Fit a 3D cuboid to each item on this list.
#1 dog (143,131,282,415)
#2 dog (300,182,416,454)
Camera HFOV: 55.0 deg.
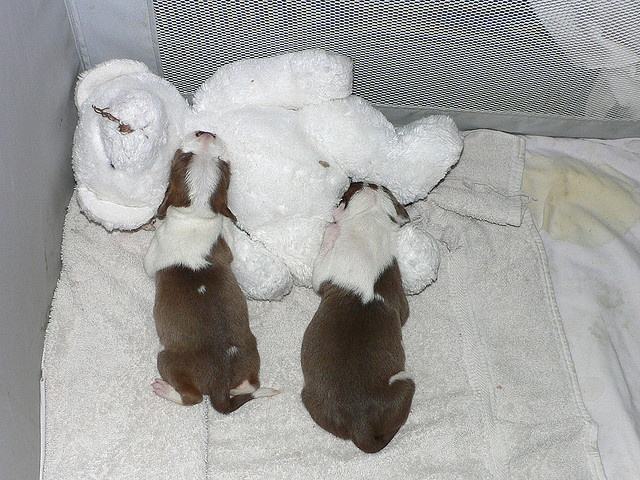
[{"bbox_3d":[-0.517,0.163,2.932,0.536,0.494,1.327,-1,85,-24],"label":"dog"},{"bbox_3d":[0.198,0.311,3.104,0.468,0.533,1.327,3,85,4],"label":"dog"}]
